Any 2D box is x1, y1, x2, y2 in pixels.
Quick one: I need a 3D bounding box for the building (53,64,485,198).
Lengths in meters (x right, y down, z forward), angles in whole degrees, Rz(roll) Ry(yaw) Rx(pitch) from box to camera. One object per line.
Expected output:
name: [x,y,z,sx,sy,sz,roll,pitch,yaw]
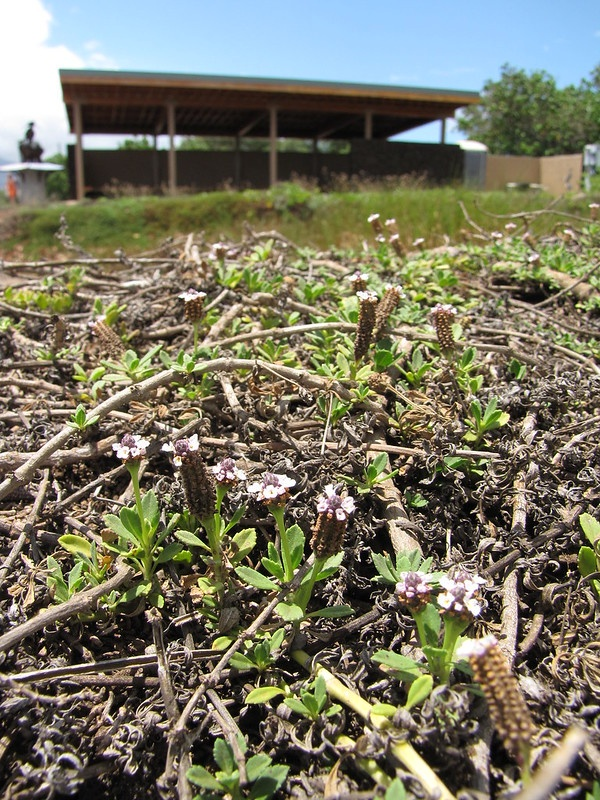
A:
building: [-1.615,-7.471,19.154,11.369,2.827,9.913,-9,17,-28]
